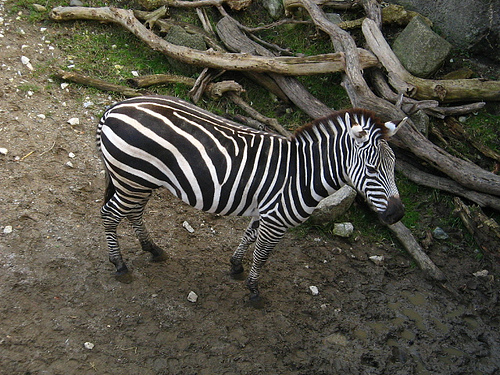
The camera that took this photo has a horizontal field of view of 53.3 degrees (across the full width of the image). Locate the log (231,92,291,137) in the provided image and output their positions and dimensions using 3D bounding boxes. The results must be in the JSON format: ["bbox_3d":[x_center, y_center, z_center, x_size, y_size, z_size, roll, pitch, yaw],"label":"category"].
[{"bbox_3d":[0.154,-1.053,7.266,1.295,0.141,0.171,40,30,17],"label":"log"}]

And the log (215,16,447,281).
[{"bbox_3d":[1.150,-0.416,6.503,0.320,0.462,4.437,-35,88,-10],"label":"log"}]

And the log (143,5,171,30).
[{"bbox_3d":[-1.546,-2.826,8.316,0.475,0.201,0.314,-41,88,3],"label":"log"}]

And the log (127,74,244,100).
[{"bbox_3d":[-1.007,-1.485,7.459,1.813,0.301,0.525,8,16,-2],"label":"log"}]
